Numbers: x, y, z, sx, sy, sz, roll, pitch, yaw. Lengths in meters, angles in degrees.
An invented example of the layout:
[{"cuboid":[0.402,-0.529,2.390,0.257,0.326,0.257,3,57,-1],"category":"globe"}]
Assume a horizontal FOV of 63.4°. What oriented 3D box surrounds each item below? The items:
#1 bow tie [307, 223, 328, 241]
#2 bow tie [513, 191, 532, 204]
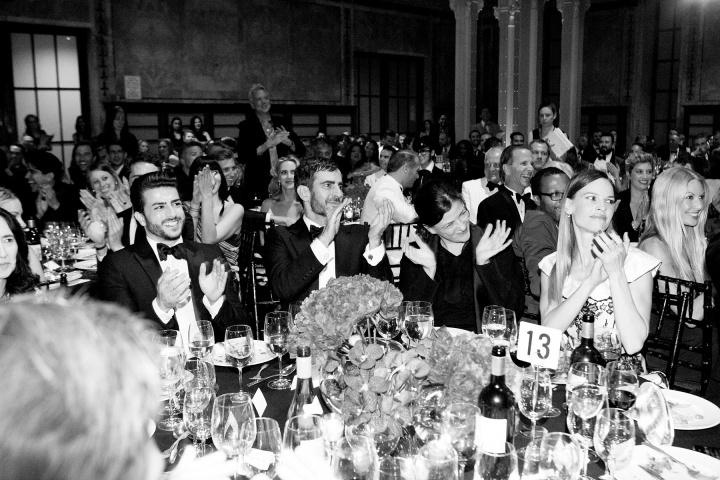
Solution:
[{"cuboid":[-0.265,-0.057,3.533,0.090,0.035,0.091,-11,31,-26],"category":"bow tie"},{"cuboid":[1.492,-0.395,5.357,0.123,0.043,0.123,-14,38,-31],"category":"bow tie"}]
